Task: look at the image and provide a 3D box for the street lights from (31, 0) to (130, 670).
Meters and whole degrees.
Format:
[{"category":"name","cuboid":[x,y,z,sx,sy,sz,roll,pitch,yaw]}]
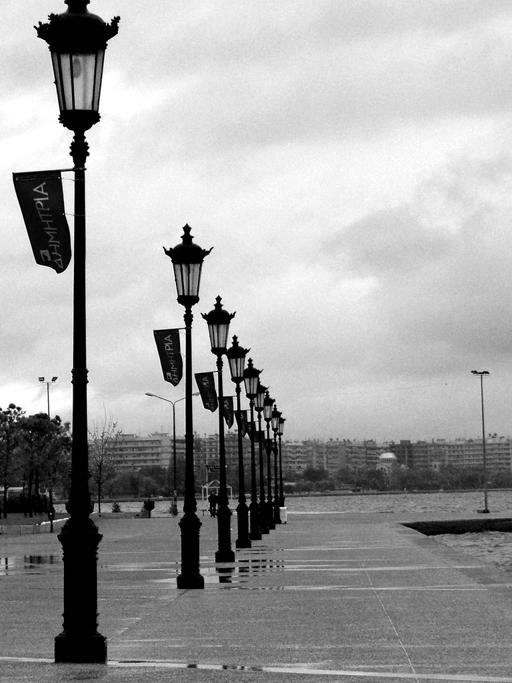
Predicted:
[{"category":"street lights","cuboid":[-1.566,-0.206,11.820,0.541,6.068,0.564,-6,-7,32]}]
